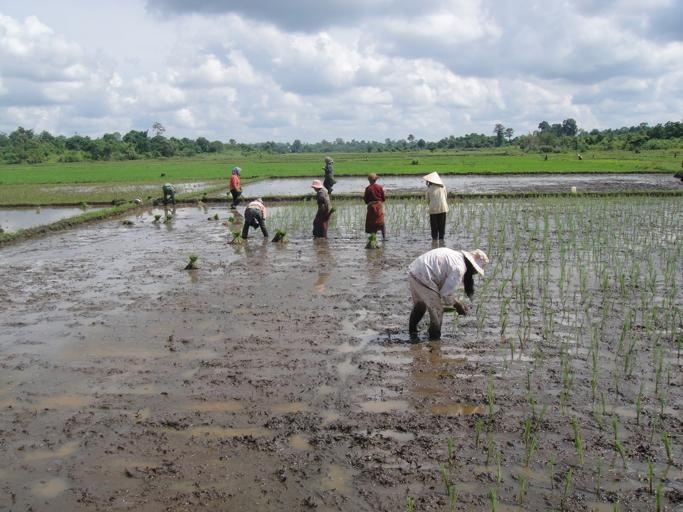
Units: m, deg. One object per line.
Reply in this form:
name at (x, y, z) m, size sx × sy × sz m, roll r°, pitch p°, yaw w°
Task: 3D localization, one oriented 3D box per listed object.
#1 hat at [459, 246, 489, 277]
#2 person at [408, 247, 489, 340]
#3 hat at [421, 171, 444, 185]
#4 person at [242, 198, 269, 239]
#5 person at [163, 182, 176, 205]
hat at (2.021, 0.111, 8.302) m, size 0.434 × 0.392 × 0.457 m, roll -10°, pitch 13°, yaw -31°
person at (1.522, 0.555, 8.456) m, size 1.059 × 1.332 × 0.643 m, roll -1°, pitch 12°, yaw 7°
hat at (2.341, -1.951, 14.619) m, size 0.382 × 0.336 × 0.669 m, roll 1°, pitch 12°, yaw 19°
person at (-2.522, -1.078, 16.459) m, size 0.720 × 1.095 × 0.562 m, roll -4°, pitch 12°, yaw -7°
person at (-8.025, -2.862, 26.647) m, size 0.547 × 0.921 × 1.059 m, roll -6°, pitch 12°, yaw -15°
